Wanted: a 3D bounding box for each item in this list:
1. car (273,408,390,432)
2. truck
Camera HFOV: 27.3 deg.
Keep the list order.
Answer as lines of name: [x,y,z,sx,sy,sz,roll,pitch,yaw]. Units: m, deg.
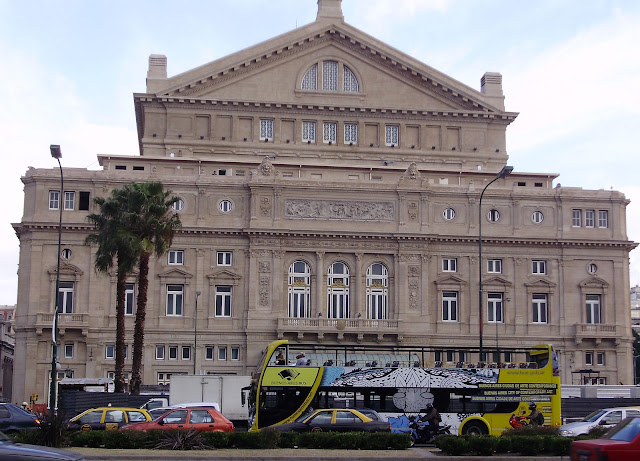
car: [1.313,13.045,90.164,6.889,1.697,1.995,0,-13,2]
truck: [-9.095,13.189,100.179,9.269,3.517,2.842,1,-11,-7]
